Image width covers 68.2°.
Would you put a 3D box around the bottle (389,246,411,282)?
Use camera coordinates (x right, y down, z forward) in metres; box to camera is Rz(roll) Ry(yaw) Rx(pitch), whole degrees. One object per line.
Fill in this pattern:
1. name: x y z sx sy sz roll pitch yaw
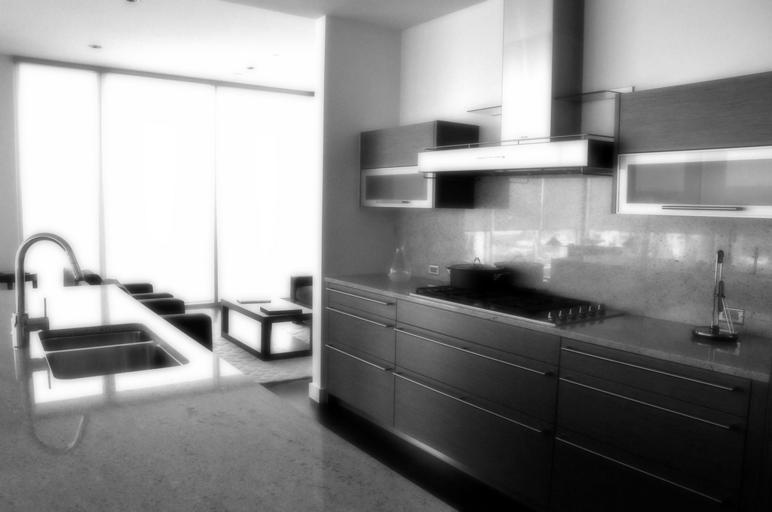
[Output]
1. bottle: 0.115 0.080 4.894 0.175 0.299 0.196 3 14 1

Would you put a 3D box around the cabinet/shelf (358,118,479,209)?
1. cabinet/shelf: 0.284 -0.763 5.079 0.595 0.706 1.104 -5 8 -37
